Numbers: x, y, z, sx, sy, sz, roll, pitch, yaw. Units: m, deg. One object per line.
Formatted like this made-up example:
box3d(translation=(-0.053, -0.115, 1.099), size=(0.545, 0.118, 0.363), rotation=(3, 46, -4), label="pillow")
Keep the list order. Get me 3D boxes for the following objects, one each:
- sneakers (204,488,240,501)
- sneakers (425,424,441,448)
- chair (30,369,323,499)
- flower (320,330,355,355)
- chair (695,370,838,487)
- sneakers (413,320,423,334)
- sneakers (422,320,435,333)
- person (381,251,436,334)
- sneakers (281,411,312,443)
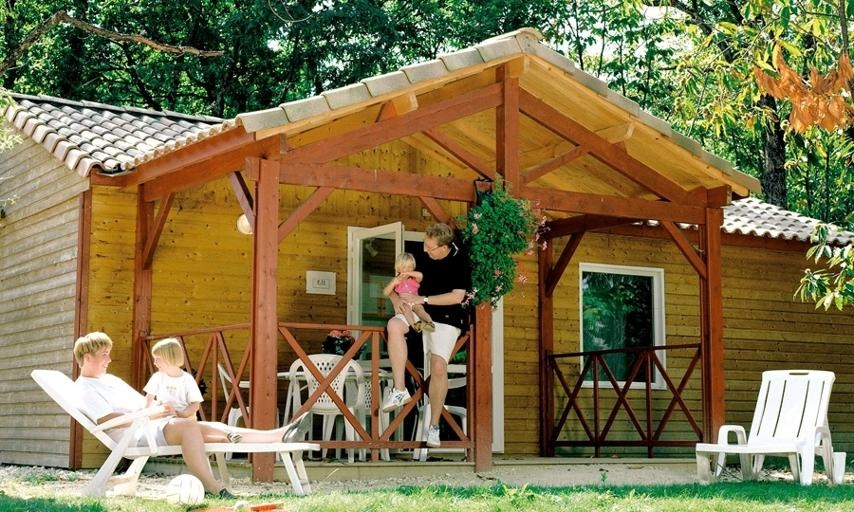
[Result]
box3d(translation=(-2.505, 2.925, 15.332), size=(0.406, 0.155, 0.142), rotation=(3, -3, -1), label="sneakers")
box3d(translation=(0.100, 2.456, 17.066), size=(0.196, 0.301, 0.263), rotation=(0, -11, -2), label="sneakers")
box3d(translation=(-3.212, 2.297, 16.077), size=(3.137, 1.415, 1.697), rotation=(-1, -6, -2), label="chair")
box3d(translation=(-1.316, 1.278, 18.634), size=(0.374, 0.178, 0.499), rotation=(10, -18, -31), label="flower")
box3d(translation=(4.905, 2.370, 17.537), size=(1.842, 1.632, 1.253), rotation=(-2, -11, 12), label="chair")
box3d(translation=(-0.114, 0.955, 17.108), size=(0.186, 0.203, 0.488), rotation=(0, 2, 0), label="sneakers")
box3d(translation=(0.035, 0.962, 17.146), size=(0.157, 0.143, 0.176), rotation=(-1, -11, 7), label="sneakers")
box3d(translation=(-0.287, 0.491, 17.159), size=(0.554, 1.162, 0.428), rotation=(-8, -39, -6), label="person")
box3d(translation=(-1.700, 2.248, 16.249), size=(0.203, 0.511, 0.205), rotation=(22, 6, 6), label="sneakers")
